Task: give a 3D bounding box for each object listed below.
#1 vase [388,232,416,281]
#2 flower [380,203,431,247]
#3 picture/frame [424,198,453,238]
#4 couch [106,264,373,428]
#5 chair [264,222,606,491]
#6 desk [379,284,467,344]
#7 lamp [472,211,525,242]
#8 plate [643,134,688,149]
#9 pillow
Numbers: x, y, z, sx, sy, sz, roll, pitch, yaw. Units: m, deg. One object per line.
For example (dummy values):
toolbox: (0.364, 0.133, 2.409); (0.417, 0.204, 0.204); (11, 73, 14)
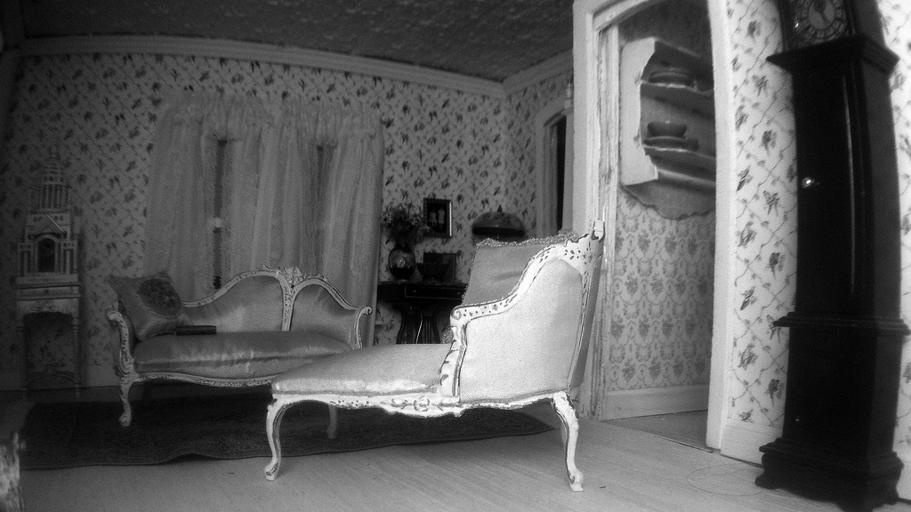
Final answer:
vase: (-0.599, 0.006, 7.553); (0.336, 0.514, 0.342); (4, 9, 26)
flower: (-0.696, -0.372, 7.736); (0.528, 0.509, 0.501); (9, 13, 3)
picture/frame: (-0.220, -0.426, 7.764); (0.480, 0.561, 0.062); (1, -4, -26)
couch: (-1.849, 0.721, 5.837); (2.000, 1.133, 0.903); (2, 9, -21)
chair: (0.018, 0.724, 5.285); (2.305, 1.646, 1.667); (-3, 1, 8)
desk: (-0.345, 0.571, 6.819); (0.675, 0.582, 0.356); (3, -6, -22)
lamp: (0.438, -0.302, 7.450); (0.459, 0.426, 0.443); (4, -7, -9)
plate: (1.796, -0.981, 5.821); (0.366, 0.105, 0.109); (3, 11, 13)
pillow: (-2.585, 0.417, 5.708); (0.469, 0.482, 0.399); (-8, 14, -41)
